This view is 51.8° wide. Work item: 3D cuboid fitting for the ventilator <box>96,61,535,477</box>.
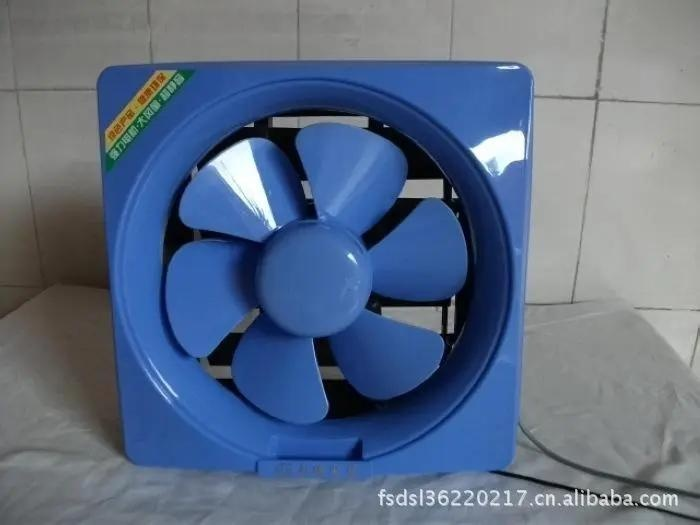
[{"bbox_3d":[-0.152,0.018,3.039,1.378,1.669,0.621,0,4,-3],"label":"ventilator"}]
